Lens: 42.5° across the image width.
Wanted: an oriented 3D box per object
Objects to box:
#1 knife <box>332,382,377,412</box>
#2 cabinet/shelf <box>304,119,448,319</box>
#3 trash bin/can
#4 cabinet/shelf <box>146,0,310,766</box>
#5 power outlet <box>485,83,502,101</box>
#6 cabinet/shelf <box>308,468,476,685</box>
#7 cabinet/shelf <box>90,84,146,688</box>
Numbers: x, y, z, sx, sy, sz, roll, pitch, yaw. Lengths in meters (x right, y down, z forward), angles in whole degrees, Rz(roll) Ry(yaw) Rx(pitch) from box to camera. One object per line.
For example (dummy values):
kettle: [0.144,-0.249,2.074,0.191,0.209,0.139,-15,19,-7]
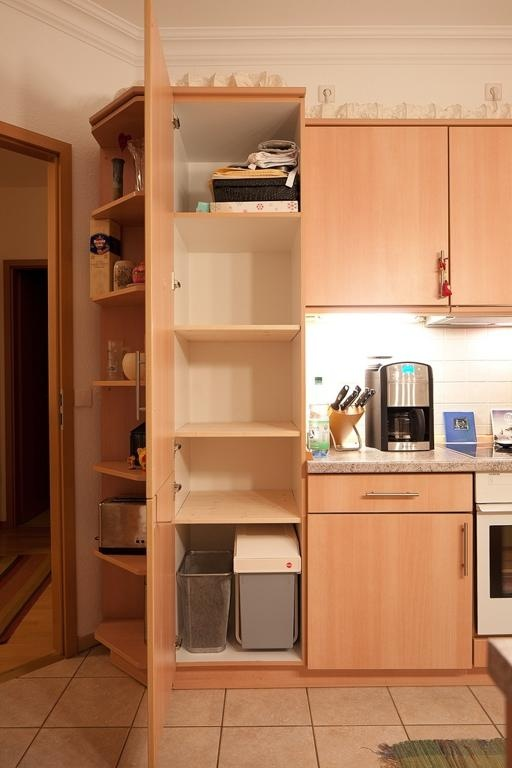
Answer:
knife: [0.397,0.057,2.657,0.065,0.034,0.157,3,-22,-17]
cabinet/shelf: [0.440,-0.655,2.471,0.667,0.873,0.266,0,2,3]
trash bin/can: [-0.166,0.825,2.564,0.226,0.322,0.419,1,-3,0]
cabinet/shelf: [-0.083,-0.040,2.428,0.523,2.299,1.052,0,9,4]
power outlet: [1.015,-1.250,2.813,0.051,0.101,0.098,3,3,12]
cabinet/shelf: [0.482,0.641,2.637,0.765,1.004,0.599,0,-1,1]
cabinet/shelf: [-0.528,0.005,2.552,0.257,2.170,0.634,-2,9,-10]
